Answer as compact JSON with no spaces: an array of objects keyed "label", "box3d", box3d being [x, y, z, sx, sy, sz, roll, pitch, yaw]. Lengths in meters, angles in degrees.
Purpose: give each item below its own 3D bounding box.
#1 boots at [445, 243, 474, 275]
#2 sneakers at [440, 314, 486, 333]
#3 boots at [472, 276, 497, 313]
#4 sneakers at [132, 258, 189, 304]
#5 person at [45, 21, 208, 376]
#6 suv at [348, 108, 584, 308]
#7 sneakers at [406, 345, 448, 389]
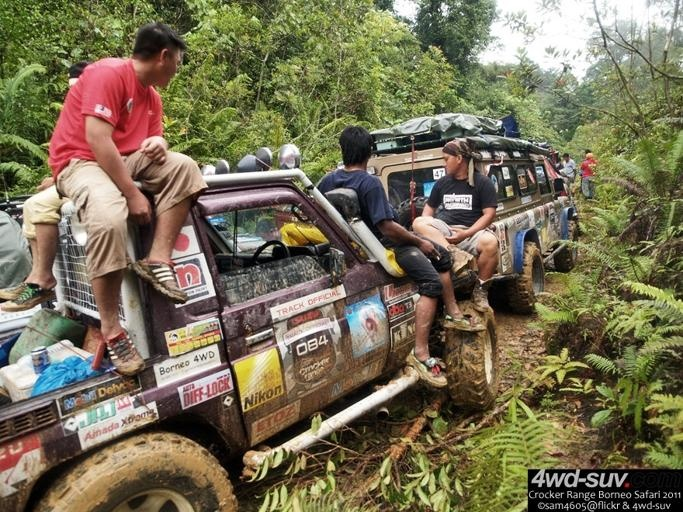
[{"label":"boots","box3d":[1.193,0.054,4.671,0.196,0.155,0.403,47,18,14]},{"label":"sneakers","box3d":[1.145,0.624,4.364,0.305,0.120,0.172,1,3,14]},{"label":"boots","box3d":[1.464,0.397,4.815,0.152,0.355,0.477,11,8,4]},{"label":"sneakers","box3d":[-1.123,0.141,2.965,0.384,0.195,0.135,34,-7,11]},{"label":"person","box3d":[-1.389,-0.345,3.126,0.737,1.989,0.992,-10,16,-42]},{"label":"suv","box3d":[2.284,-0.916,8.070,2.463,2.839,4.395,6,13,37]},{"label":"sneakers","box3d":[0.794,1.044,4.279,0.400,0.296,0.144,39,-29,-14]}]
